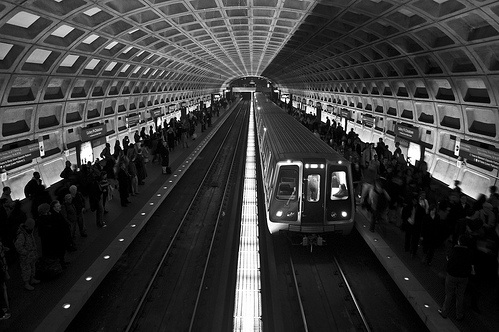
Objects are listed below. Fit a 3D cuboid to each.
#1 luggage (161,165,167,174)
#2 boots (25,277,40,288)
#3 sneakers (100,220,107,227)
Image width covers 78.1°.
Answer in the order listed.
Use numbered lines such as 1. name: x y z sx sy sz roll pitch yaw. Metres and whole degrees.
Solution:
1. luggage: -5.361 0.193 19.327 0.309 0.623 0.345 5 21 5
2. boots: -7.056 3.777 9.938 0.370 0.412 0.265 1 0 -15
3. sneakers: -6.174 2.423 13.046 0.093 0.124 0.428 7 10 -12
